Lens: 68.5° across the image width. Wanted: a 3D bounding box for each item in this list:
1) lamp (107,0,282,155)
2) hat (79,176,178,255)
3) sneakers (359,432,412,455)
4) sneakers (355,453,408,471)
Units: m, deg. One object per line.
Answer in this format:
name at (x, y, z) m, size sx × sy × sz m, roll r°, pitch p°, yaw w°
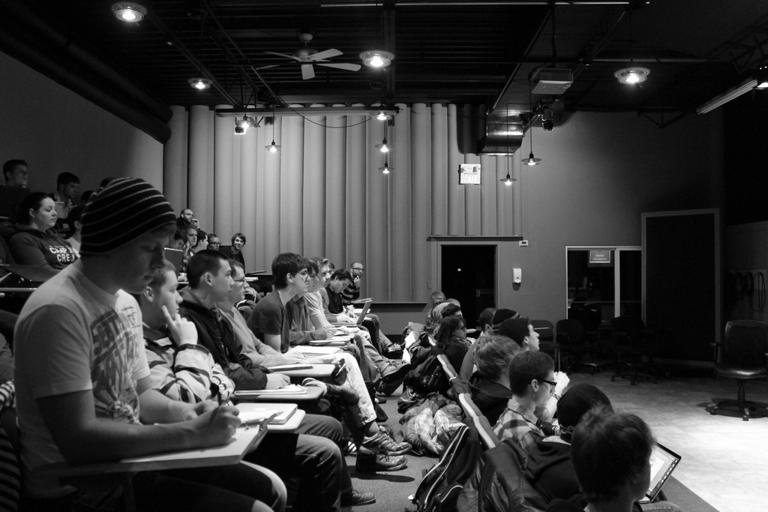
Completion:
lamp at (-2.832, -2.886, 9.091) m, size 0.780 × 1.103 × 4.565 m, roll -3°, pitch -20°, yaw 12°
hat at (-1.240, -0.175, 2.793) m, size 0.381 × 0.336 × 0.389 m, roll -1°, pitch 0°, yaw -9°
sneakers at (-0.003, 1.657, 5.070) m, size 0.458 × 0.222 × 0.174 m, roll 7°, pitch -2°, yaw -12°
sneakers at (-0.025, 1.788, 5.027) m, size 0.461 × 0.209 × 0.169 m, roll -1°, pitch -1°, yaw -8°
